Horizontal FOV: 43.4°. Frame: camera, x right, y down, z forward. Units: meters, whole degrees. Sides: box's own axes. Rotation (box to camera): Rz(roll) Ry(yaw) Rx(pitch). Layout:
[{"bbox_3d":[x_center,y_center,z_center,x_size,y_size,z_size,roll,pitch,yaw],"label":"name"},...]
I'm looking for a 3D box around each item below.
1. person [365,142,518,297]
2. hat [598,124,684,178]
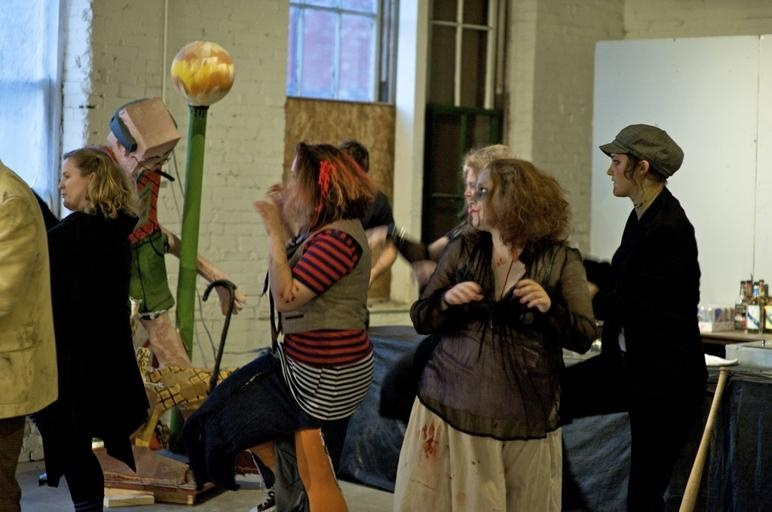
[{"bbox_3d":[0.277,-0.187,5.474,0.773,0.943,0.888,8,15,3],"label":"person"},{"bbox_3d":[1.439,-0.603,5.474,0.458,0.272,0.316,12,7,23],"label":"hat"}]
